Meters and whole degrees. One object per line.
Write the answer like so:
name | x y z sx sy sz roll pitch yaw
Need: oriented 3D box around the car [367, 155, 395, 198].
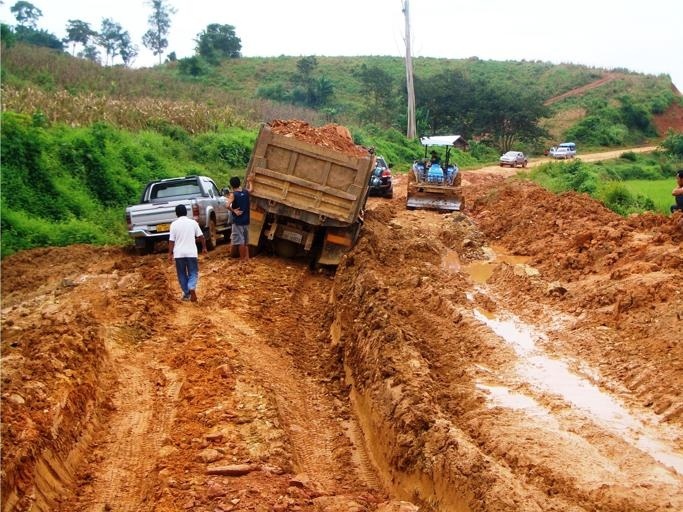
car | 1.707 -3.519 22.799 1.298 1.167 2.817 3 20 8

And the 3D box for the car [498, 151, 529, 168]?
car | 13.214 -7.375 40.011 2.116 1.073 1.538 -5 20 -29

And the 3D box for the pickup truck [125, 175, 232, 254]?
pickup truck | -3.999 -1.150 13.599 1.713 1.344 3.021 0 17 10

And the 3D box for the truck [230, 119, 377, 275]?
truck | -0.838 -1.187 11.196 2.252 2.241 3.694 12 28 -3

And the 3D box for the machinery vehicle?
machinery vehicle | 3.655 -3.341 20.775 2.086 2.247 4.259 1 13 6

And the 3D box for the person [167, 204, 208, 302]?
person | -3.022 -0.185 10.358 0.632 1.765 1.492 2 18 -9
